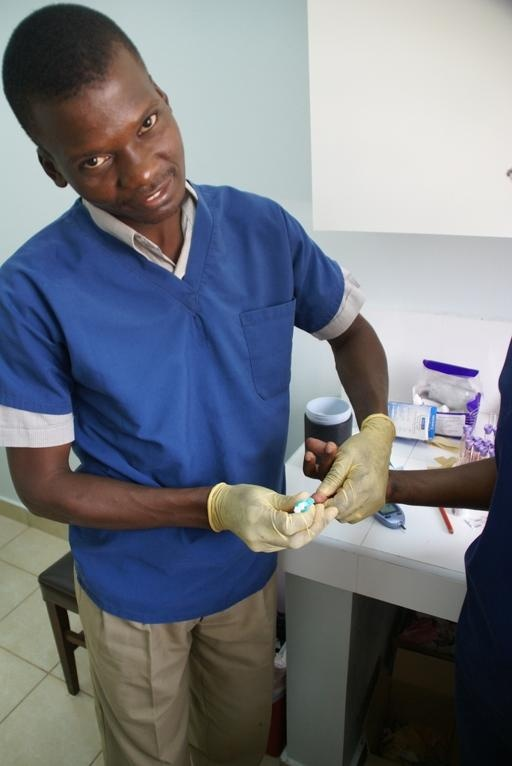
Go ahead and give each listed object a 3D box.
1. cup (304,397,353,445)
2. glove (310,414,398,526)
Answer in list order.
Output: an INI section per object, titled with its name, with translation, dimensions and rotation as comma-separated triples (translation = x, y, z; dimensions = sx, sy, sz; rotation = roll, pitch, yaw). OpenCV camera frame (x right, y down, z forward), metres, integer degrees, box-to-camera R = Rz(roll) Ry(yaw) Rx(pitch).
[cup]
translation = 0.177, 0.096, 1.556
dimensions = 0.099, 0.141, 0.094
rotation = -3, 22, 1
[glove]
translation = 0.168, 0.145, 1.150
dimensions = 0.118, 0.077, 0.205
rotation = 28, 59, -15
